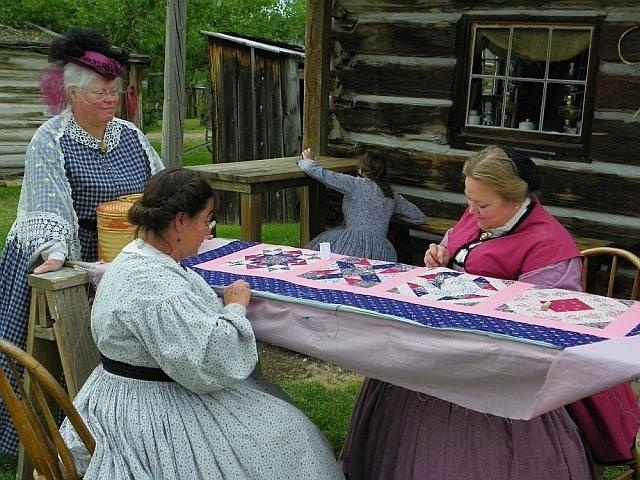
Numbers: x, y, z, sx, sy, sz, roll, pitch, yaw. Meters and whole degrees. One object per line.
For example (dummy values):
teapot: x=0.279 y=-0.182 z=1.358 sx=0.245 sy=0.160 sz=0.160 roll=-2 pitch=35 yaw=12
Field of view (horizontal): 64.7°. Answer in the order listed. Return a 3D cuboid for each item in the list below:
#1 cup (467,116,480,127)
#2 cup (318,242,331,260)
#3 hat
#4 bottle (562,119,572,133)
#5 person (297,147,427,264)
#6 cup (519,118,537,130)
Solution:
cup: x=1.389 y=-1.070 z=4.582 sx=0.107 sy=0.075 sz=0.096 roll=6 pitch=4 yaw=16
cup: x=0.017 y=0.052 z=2.551 sx=0.099 sy=0.076 sz=0.079 roll=-1 pitch=9 yaw=-12
hat: x=-1.219 y=-0.918 z=2.736 sx=0.479 sy=0.374 sz=0.429 roll=26 pitch=35 yaw=26
bottle: x=2.111 y=-0.963 z=4.311 sx=0.061 sy=0.146 sz=0.284 roll=7 pitch=8 yaw=24
person: x=0.415 y=-0.314 z=4.518 sx=1.444 sy=0.967 sz=0.687 roll=-1 pitch=19 yaw=-14
cup: x=1.809 y=-1.005 z=4.425 sx=0.147 sy=0.075 sz=0.132 roll=-2 pitch=3 yaw=-35
